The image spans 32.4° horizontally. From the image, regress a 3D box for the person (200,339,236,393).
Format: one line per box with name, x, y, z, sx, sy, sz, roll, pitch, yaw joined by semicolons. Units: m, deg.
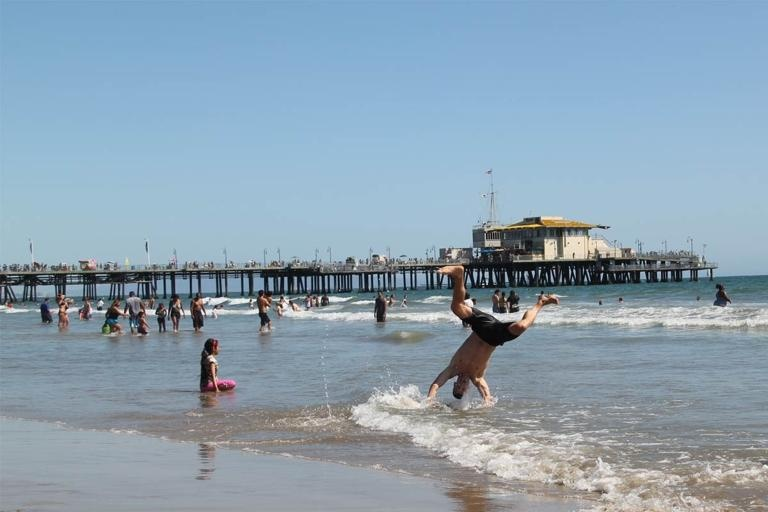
person;-3.637;2.463;29.166;0.739;1.008;1.090;-4;8;-33
